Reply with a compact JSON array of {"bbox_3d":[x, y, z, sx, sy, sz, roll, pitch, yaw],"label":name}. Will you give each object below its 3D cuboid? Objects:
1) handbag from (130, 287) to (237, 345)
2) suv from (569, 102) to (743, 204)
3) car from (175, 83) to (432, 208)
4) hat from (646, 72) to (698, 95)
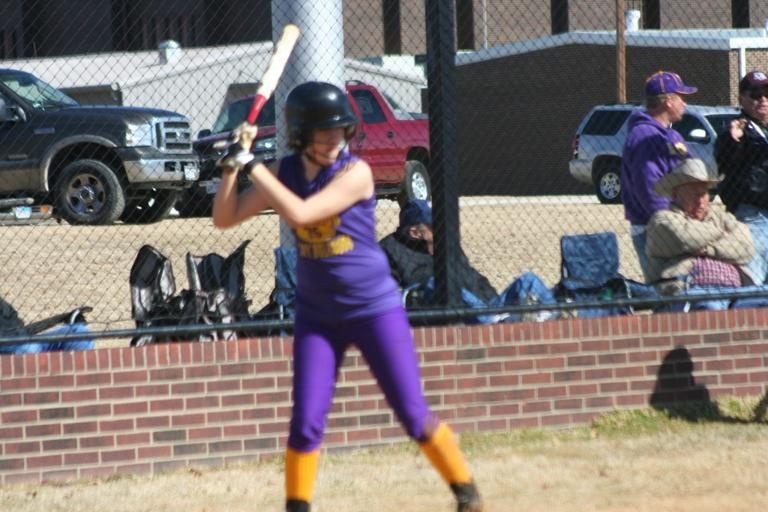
[{"bbox_3d":[-2.181,0.647,20.127,0.807,0.400,0.672,-3,16,-20],"label":"handbag"},{"bbox_3d":[3.980,-1.648,28.565,2.691,1.353,1.423,0,4,33],"label":"suv"},{"bbox_3d":[-0.574,-1.620,25.828,1.772,1.506,3.148,2,4,38],"label":"car"},{"bbox_3d":[3.232,-1.879,20.632,0.462,0.233,0.353,1,14,-8],"label":"hat"}]
